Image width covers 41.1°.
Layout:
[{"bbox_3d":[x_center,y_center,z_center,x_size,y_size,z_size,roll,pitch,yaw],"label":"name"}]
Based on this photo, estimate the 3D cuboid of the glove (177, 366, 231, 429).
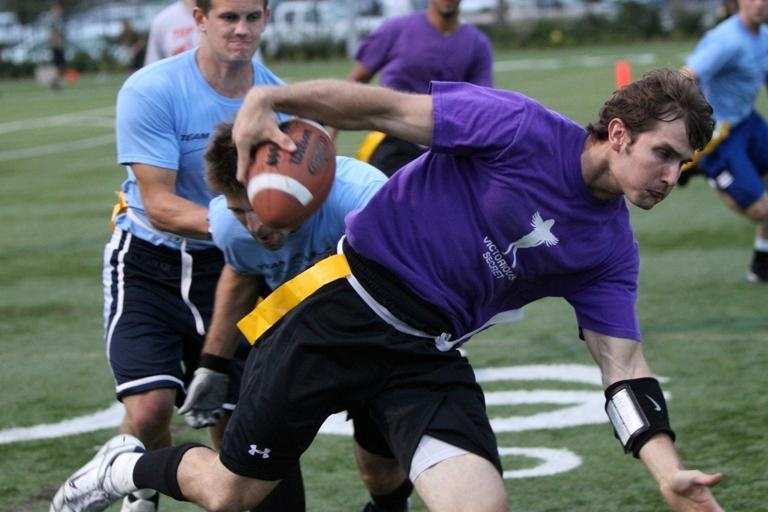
[{"bbox_3d":[-0.972,0.788,5.594,0.287,0.327,0.145,7,18,-33],"label":"glove"}]
